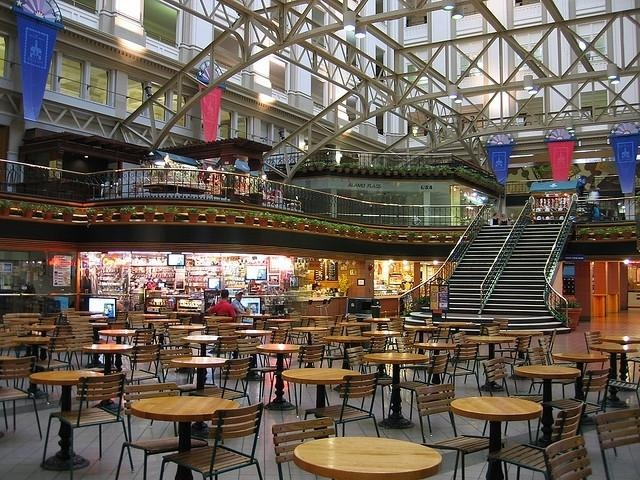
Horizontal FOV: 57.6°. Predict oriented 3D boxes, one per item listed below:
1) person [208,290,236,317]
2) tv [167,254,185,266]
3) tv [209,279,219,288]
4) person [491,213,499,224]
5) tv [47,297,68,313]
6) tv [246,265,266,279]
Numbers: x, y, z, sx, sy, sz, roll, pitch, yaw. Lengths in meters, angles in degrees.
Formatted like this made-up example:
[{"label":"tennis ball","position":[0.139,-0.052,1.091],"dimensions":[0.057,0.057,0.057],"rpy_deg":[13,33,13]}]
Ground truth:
[{"label":"person","position":[-3.062,2.005,18.096],"dimensions":[1.161,0.810,0.600],"rpy_deg":[4,15,16]},{"label":"tv","position":[-5.182,0.700,21.121],"dimensions":[0.883,0.486,0.399],"rpy_deg":[2,0,0]},{"label":"tv","position":[-3.932,1.613,21.599],"dimensions":[0.443,0.332,0.209],"rpy_deg":[1,1,-2]},{"label":"person","position":[9.729,-1.152,32.216],"dimensions":[0.262,0.659,1.804],"rpy_deg":[0,-6,16]},{"label":"tv","position":[-8.536,2.118,18.864],"dimensions":[0.328,0.327,0.540],"rpy_deg":[-1,-4,8]},{"label":"tv","position":[-2.457,1.229,22.227],"dimensions":[0.634,0.372,0.057],"rpy_deg":[5,-11,-24]}]
